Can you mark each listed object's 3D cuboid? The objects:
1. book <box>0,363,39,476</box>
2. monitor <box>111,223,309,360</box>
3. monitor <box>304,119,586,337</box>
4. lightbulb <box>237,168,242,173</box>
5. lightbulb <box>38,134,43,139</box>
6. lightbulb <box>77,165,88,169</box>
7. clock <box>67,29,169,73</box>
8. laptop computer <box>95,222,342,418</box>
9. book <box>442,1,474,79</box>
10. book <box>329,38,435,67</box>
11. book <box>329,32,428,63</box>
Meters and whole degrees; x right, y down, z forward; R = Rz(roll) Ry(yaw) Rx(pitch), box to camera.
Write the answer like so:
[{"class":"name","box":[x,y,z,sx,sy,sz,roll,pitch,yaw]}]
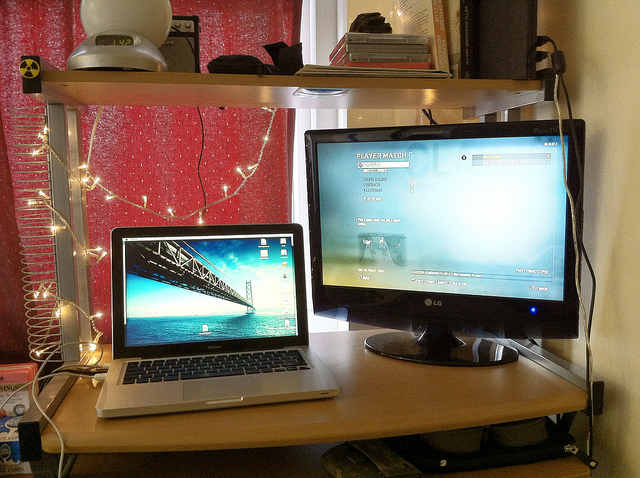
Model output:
[{"class":"book","box":[-1.052,0.647,1.884,0.141,0.384,0.271,-5,5,-28]},{"class":"monitor","box":[-0.247,0.146,1.260,0.508,0.313,0.278,-1,4,-14]},{"class":"monitor","box":[0.334,-0.034,1.369,0.617,0.424,0.154,1,3,13]},{"class":"lightbulb","box":[-0.373,-0.315,2.474,0.017,0.022,0.005,-6,1,1]},{"class":"lightbulb","box":[-0.721,-0.264,1.384,0.012,0.005,0.021,0,36,-24]},{"class":"lightbulb","box":[-0.637,-0.192,1.447,0.016,0.011,0.071,-4,5,-16]},{"class":"clock","box":[-0.503,-0.459,1.330,0.242,0.089,0.247,-1,12,-8]},{"class":"laptop computer","box":[-0.238,0.155,1.262,0.526,0.330,0.429,0,6,-11]},{"class":"book","box":[0.367,-0.541,1.454,0.043,0.222,0.090,-6,6,-35]},{"class":"book","box":[0.212,-0.511,1.488,0.242,0.051,0.253,6,24,18]},{"class":"book","box":[0.148,-0.522,1.429,0.267,0.056,0.138,-2,5,9]}]
